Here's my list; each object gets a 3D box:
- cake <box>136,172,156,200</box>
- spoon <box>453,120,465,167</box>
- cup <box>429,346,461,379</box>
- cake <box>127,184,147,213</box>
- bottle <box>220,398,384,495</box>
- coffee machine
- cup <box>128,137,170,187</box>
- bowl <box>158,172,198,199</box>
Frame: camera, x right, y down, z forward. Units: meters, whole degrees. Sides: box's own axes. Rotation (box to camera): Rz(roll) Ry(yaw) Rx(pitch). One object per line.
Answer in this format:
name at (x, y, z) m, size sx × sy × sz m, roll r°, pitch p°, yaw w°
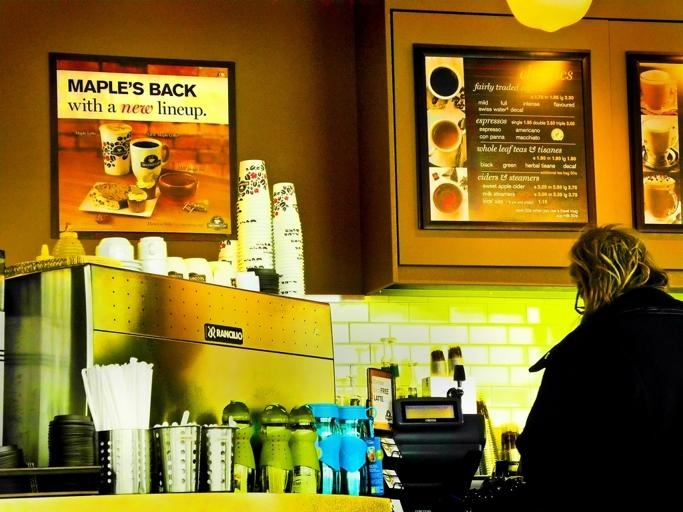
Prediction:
cake at (-0.827, -0.303, 4.320) m, size 0.109 × 0.112 × 0.099 m, roll -1°, pitch -7°, yaw -8°
spoon at (0.484, -0.450, 4.077) m, size 0.033 × 0.205 × 0.023 m, roll 3°, pitch 8°, yaw -13°
cup at (0.468, 0.469, 4.416) m, size 0.153 × 0.133 × 0.191 m, roll -3°, pitch -9°, yaw 5°
cake at (-0.874, -0.242, 4.178) m, size 0.102 × 0.123 × 0.104 m, roll 0°, pitch -6°, yaw 0°
bottle at (-0.137, 0.612, 3.140) m, size 0.374 × 0.189 × 0.090 m, roll 7°, pitch -21°, yaw -23°
coffee machine at (-0.553, 0.368, 3.394) m, size 1.108 × 0.611 × 0.329 m, roll 4°, pitch -11°, yaw -37°
cup at (-0.837, -0.401, 4.275) m, size 0.231 × 0.201 × 0.141 m, roll 3°, pitch -8°, yaw -25°
bowl at (-0.710, -0.297, 4.281) m, size 0.130 × 0.073 × 0.136 m, roll 2°, pitch -6°, yaw 0°
